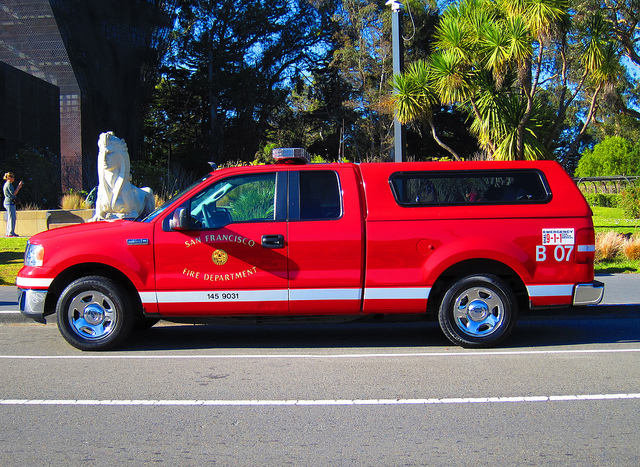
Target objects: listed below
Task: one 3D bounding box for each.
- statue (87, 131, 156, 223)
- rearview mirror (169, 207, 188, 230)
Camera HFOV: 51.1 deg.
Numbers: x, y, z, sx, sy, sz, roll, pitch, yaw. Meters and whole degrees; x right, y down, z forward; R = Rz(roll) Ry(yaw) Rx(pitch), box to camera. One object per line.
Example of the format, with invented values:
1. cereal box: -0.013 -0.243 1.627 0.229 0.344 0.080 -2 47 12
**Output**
1. statue: -4.322 -1.237 14.401 0.822 1.861 1.173 4 11 25
2. rearview mirror: -1.875 -0.202 8.850 0.262 0.349 0.229 5 -2 -27
